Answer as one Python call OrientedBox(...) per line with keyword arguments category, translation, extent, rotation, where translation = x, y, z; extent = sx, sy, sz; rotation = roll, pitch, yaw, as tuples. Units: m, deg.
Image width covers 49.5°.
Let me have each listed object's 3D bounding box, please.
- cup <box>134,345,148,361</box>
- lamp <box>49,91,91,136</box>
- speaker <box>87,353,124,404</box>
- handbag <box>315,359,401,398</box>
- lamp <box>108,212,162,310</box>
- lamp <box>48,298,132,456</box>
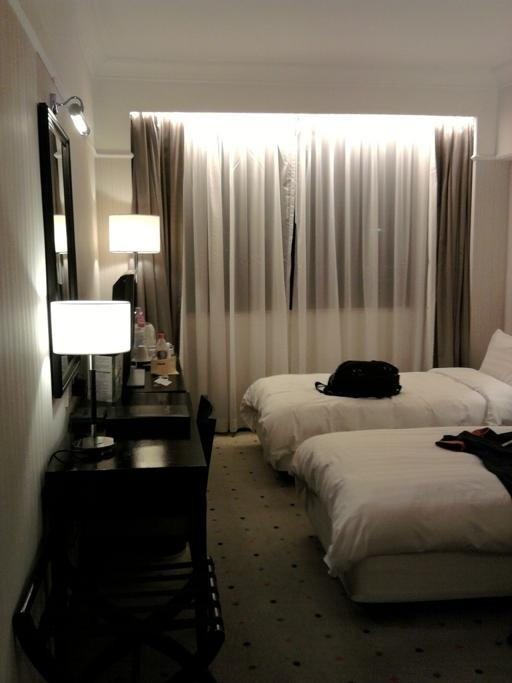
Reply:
OrientedBox(category="cup", translation=(-0.763, 0.077, 3.701), extent=(0.056, 0.120, 0.094), rotation=(1, -6, -3))
OrientedBox(category="lamp", translation=(-0.865, -1.060, 2.584), extent=(0.126, 0.287, 0.067), rotation=(-4, -20, -29))
OrientedBox(category="speaker", translation=(-0.661, 0.144, 2.518), extent=(0.076, 0.221, 0.181), rotation=(2, 11, 2))
OrientedBox(category="handbag", translation=(0.716, 0.255, 3.777), extent=(0.328, 0.194, 0.305), rotation=(-2, 0, 2))
OrientedBox(category="lamp", translation=(-0.842, -0.625, 4.047), extent=(0.340, 0.823, 0.399), rotation=(9, 20, 26))
OrientedBox(category="lamp", translation=(-0.536, 0.103, 1.828), extent=(0.203, 0.582, 0.171), rotation=(-7, 24, -28))
